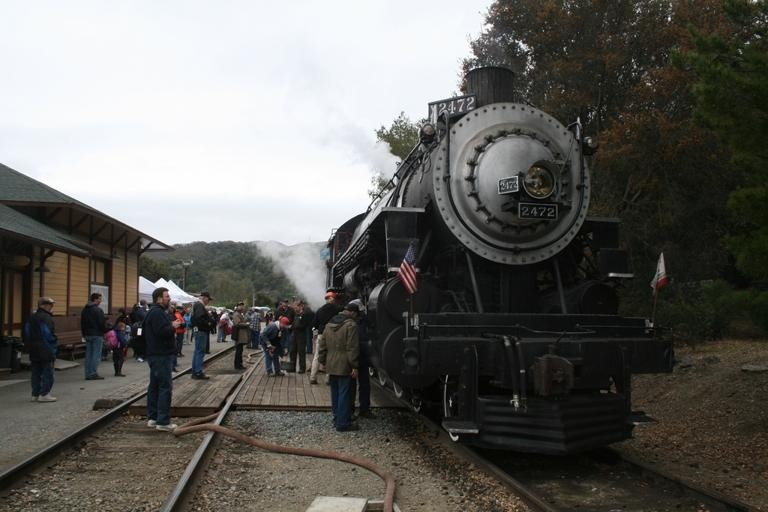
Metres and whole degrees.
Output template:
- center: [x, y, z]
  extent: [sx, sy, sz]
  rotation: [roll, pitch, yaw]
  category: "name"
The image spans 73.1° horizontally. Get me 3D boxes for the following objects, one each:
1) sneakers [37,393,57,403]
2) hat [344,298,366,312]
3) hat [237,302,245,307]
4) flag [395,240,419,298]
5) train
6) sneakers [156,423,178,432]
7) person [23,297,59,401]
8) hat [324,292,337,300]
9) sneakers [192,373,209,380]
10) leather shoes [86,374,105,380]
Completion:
- center: [-6.781, 2.871, 10.447]
  extent: [0.324, 0.156, 0.127]
  rotation: [3, -4, -17]
  category: "sneakers"
- center: [-0.517, 0.940, 9.879]
  extent: [0.303, 0.131, 0.394]
  rotation: [1, -12, -2]
  category: "hat"
- center: [-4.310, 1.491, 15.655]
  extent: [0.252, 0.092, 0.185]
  rotation: [3, -1, 43]
  category: "hat"
- center: [0.381, 0.185, 7.738]
  extent: [0.236, 0.762, 0.510]
  rotation: [1, 1, 4]
  category: "flag"
- center: [1.802, -0.223, 7.931]
  extent: [4.379, 6.267, 3.094]
  rotation: [1, 2, 33]
  category: "train"
- center: [-3.620, 2.863, 8.714]
  extent: [0.362, 0.156, 0.143]
  rotation: [1, -6, -12]
  category: "sneakers"
- center: [-6.899, 1.880, 10.453]
  extent: [0.489, 2.083, 0.594]
  rotation: [-1, 2, -35]
  category: "person"
- center: [-1.034, 0.770, 10.332]
  extent: [0.188, 0.092, 0.190]
  rotation: [7, -10, -13]
  category: "hat"
- center: [-4.425, 2.917, 12.527]
  extent: [0.426, 0.177, 0.145]
  rotation: [2, -3, -14]
  category: "sneakers"
- center: [-7.260, 3.051, 13.133]
  extent: [0.457, 0.194, 0.168]
  rotation: [2, -7, -15]
  category: "leather shoes"
